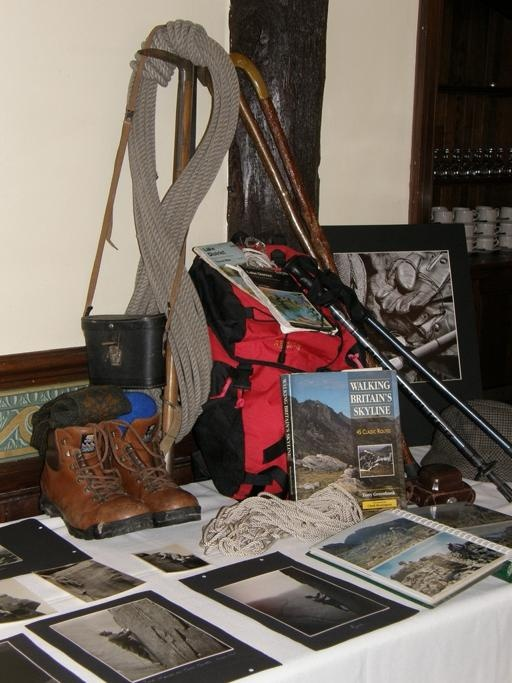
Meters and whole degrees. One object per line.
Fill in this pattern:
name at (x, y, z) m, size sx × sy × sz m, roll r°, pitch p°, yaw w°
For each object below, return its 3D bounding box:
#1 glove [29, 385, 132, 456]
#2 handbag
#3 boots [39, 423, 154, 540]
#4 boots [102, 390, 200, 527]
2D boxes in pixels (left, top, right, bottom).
glove at (-0.349, 0.126, 1.092) m, size 0.160 × 0.055 × 0.166 m, roll 1°, pitch 4°, yaw 35°
handbag at (-0.285, 0.021, 1.265) m, size 0.188 × 0.153 × 0.104 m, roll 0°, pitch 9°, yaw 4°
boots at (-0.297, 0.244, 1.043) m, size 0.126 × 0.165 × 0.353 m, roll -4°, pitch 6°, yaw -36°
boots at (-0.209, 0.221, 1.097) m, size 0.101 × 0.194 × 0.290 m, roll -13°, pitch 18°, yaw -34°
